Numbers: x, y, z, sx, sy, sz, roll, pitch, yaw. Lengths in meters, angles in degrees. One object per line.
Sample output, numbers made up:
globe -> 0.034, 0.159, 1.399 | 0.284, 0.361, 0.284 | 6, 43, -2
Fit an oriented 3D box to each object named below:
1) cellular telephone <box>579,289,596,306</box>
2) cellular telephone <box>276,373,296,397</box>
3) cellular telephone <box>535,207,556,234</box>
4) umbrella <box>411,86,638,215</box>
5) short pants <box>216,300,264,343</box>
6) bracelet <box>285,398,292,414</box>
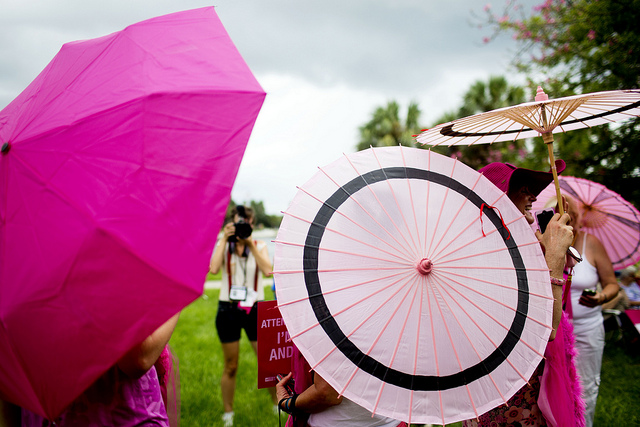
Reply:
cellular telephone -> 2.422, 0.758, 5.590 | 0.131, 0.135, 0.033 | 6, 8, 7
cellular telephone -> -0.244, 1.248, 4.537 | 0.090, 0.150, 0.044 | -2, -42, -28
cellular telephone -> 1.642, 0.056, 4.502 | 0.158, 0.303, 0.028 | -7, -9, 39
umbrella -> 1.513, -0.656, 4.505 | 1.122, 0.925, 1.105 | -3, -19, -6
short pants -> -0.848, 1.231, 6.566 | 0.351, 0.631, 0.647 | -1, -7, 21
bracelet -> -0.218, 1.336, 4.264 | 0.016, 0.067, 0.069 | -2, -34, 20
